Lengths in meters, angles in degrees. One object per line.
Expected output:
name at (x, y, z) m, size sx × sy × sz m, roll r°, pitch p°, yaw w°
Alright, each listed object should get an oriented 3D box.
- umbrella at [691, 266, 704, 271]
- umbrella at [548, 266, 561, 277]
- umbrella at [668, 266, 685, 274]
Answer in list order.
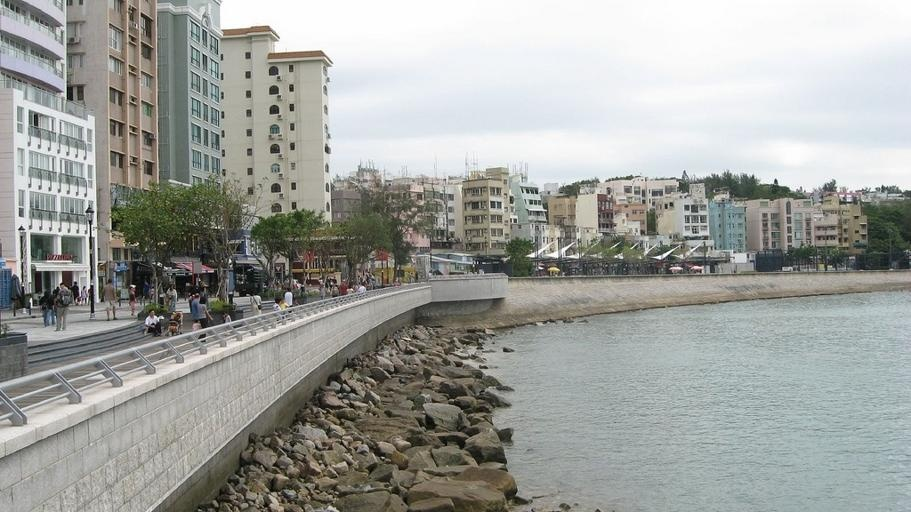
umbrella at (49.335, 2.419, 173.372) m, size 1.555 × 0.655 × 2.362 m, roll 2°, pitch 3°, yaw 8°
umbrella at (15.859, 2.227, 134.370) m, size 2.915 × 1.620 × 2.662 m, roll 0°, pitch -7°, yaw -2°
umbrella at (42.648, 2.501, 165.021) m, size 2.252 × 0.758 × 2.771 m, roll -1°, pitch -2°, yaw 2°
